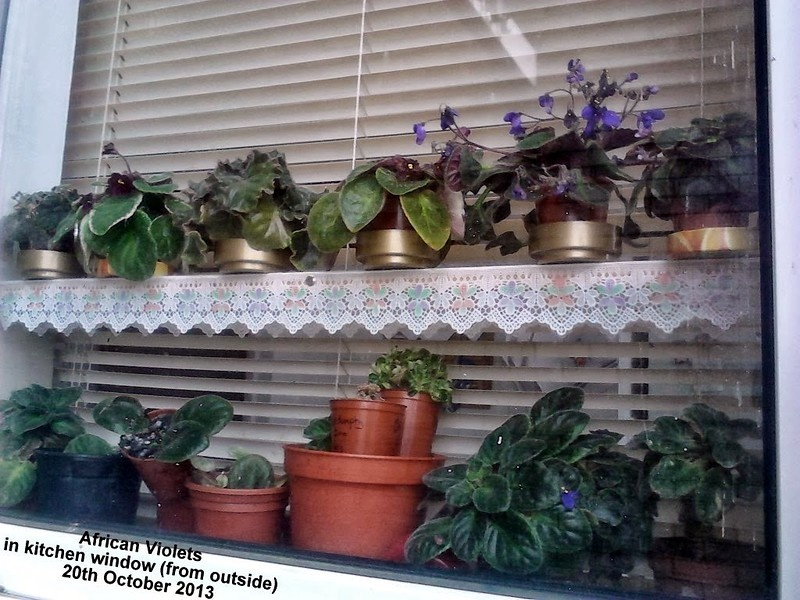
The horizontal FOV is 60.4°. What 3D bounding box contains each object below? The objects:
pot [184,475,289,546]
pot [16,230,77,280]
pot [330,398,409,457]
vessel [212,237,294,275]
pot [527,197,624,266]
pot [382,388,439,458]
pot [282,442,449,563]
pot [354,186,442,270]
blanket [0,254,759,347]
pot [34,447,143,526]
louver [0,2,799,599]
[{"bbox_3d":[-0.391,0.493,1.584,0.282,0.119,0.261,0,-16,0],"label":"pot"},{"bbox_3d":[-0.856,-0.103,1.664,0.120,0.048,0.116,-3,-8,0],"label":"pot"},{"bbox_3d":[-0.060,0.287,1.533,0.178,0.108,0.173,4,-11,1],"label":"pot"},{"bbox_3d":[-0.345,-0.092,1.544,0.112,0.041,0.107,-2,-6,27],"label":"vessel"},{"bbox_3d":[0.335,-0.134,1.358,0.158,0.130,0.144,1,-19,0],"label":"pot"},{"bbox_3d":[0.028,0.299,1.552,0.125,0.110,0.117,4,-12,1],"label":"pot"},{"bbox_3d":[-0.095,0.417,1.425,0.245,0.124,0.232,1,-14,0],"label":"pot"},{"bbox_3d":[-0.008,-0.144,1.482,0.170,0.141,0.157,0,-11,0],"label":"pot"},{"bbox_3d":[-0.128,0.003,1.467,1.589,0.166,0.120,1,-2,18],"label":"blanket"},{"bbox_3d":[-0.739,0.459,1.634,0.246,0.134,0.203,5,-17,-17],"label":"pot"},{"bbox_3d":[0.008,0.044,1.433,1.550,1.125,0.121,0,-5,16],"label":"louver"}]
